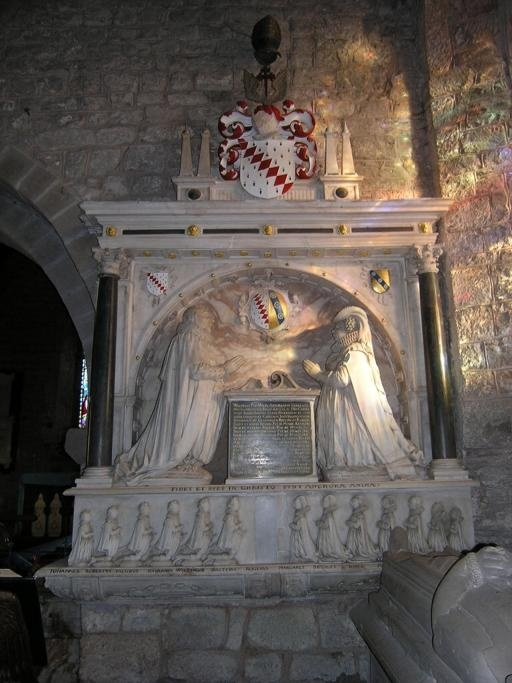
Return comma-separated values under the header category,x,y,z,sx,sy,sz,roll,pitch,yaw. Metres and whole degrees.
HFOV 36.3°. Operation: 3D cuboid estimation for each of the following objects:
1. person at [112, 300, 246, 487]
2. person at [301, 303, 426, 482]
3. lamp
category,x,y,z,sx,sy,sz,roll,pitch,yaw
person,-0.567,0.336,5.218,0.738,1.210,0.346,1,-12,-9
person,0.705,0.317,5.256,0.764,1.206,0.350,-5,-12,15
lamp,0.082,-1.758,5.957,0.741,1.614,0.541,-2,-12,5
